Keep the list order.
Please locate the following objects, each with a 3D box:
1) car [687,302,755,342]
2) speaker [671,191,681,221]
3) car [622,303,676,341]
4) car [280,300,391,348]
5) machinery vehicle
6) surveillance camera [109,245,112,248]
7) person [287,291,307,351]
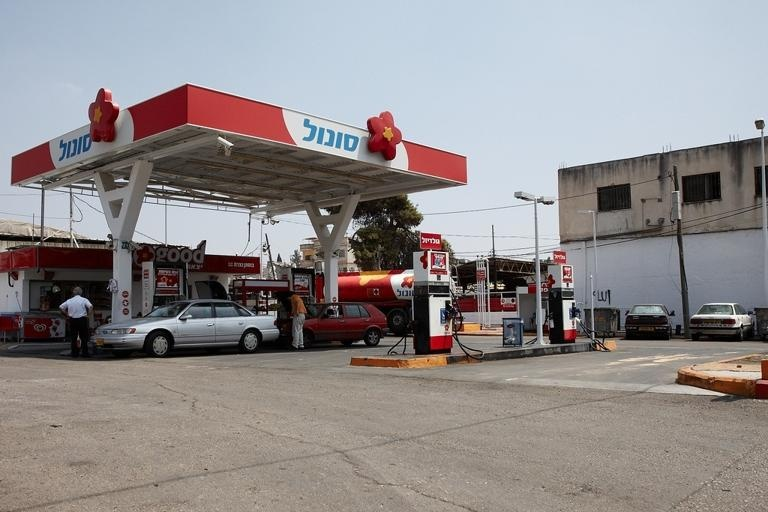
[{"bbox_3d":[15.991,3.112,30.760,1.921,1.864,3.154,-7,-8,42],"label":"car"},{"bbox_3d":[15.615,-2.750,34.721,0.384,1.468,0.605,-7,-7,44],"label":"speaker"},{"bbox_3d":[13.071,3.270,32.143,2.009,1.777,2.143,-4,-6,20],"label":"car"},{"bbox_3d":[-1.947,2.581,24.402,3.178,1.321,1.887,6,-10,-32],"label":"car"},{"bbox_3d":[-0.166,2.313,35.647,8.338,3.310,2.914,-2,-5,34],"label":"machinery vehicle"},{"bbox_3d":[-9.902,-0.367,23.309,0.098,0.104,0.105,4,-9,-31],"label":"surveillance camera"},{"bbox_3d":[-3.058,2.318,22.865,0.490,1.981,1.249,-1,-5,-8],"label":"person"}]
